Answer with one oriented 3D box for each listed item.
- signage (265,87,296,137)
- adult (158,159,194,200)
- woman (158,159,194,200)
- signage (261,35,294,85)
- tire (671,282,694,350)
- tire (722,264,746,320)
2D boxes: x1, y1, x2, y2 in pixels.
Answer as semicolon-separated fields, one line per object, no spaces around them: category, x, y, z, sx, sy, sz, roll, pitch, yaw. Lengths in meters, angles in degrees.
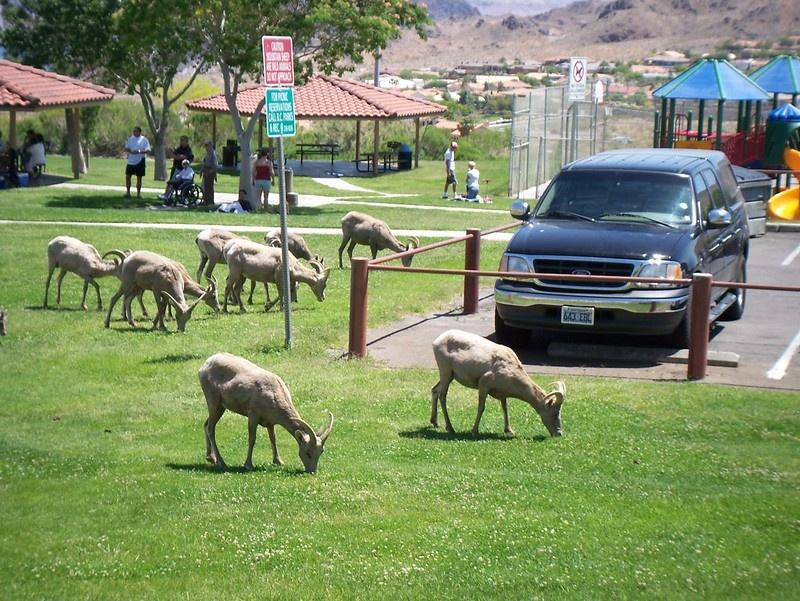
signage;-2.074;-3.282;23.465;0.605;0.880;0.568;0;6;-25
adult;-6.793;-3.610;41.531;1.123;1.523;0.676;12;-7;-23
woman;-6.689;-3.762;41.483;1.226;1.619;0.715;-6;19;-27
signage;-2.120;-4.160;23.467;0.460;0.881;0.594;2;6;1
tire;4.773;0.193;22.658;0.217;0.768;0.737;4;39;22
tire;6.213;-0.162;25.061;0.281;0.923;0.822;5;12;31
